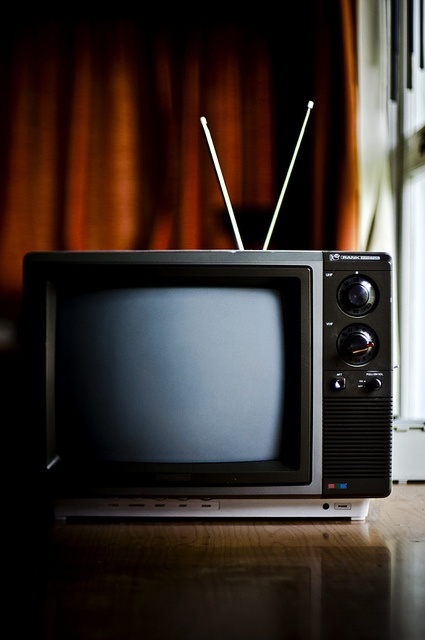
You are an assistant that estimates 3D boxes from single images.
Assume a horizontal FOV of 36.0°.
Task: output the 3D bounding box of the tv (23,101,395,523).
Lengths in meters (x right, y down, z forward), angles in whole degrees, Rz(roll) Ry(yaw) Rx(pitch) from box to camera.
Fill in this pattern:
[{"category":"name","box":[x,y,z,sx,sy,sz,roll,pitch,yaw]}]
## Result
[{"category":"tv","box":[-0.005,0.008,1.107,0.493,0.774,0.329,0,-2,0]}]
